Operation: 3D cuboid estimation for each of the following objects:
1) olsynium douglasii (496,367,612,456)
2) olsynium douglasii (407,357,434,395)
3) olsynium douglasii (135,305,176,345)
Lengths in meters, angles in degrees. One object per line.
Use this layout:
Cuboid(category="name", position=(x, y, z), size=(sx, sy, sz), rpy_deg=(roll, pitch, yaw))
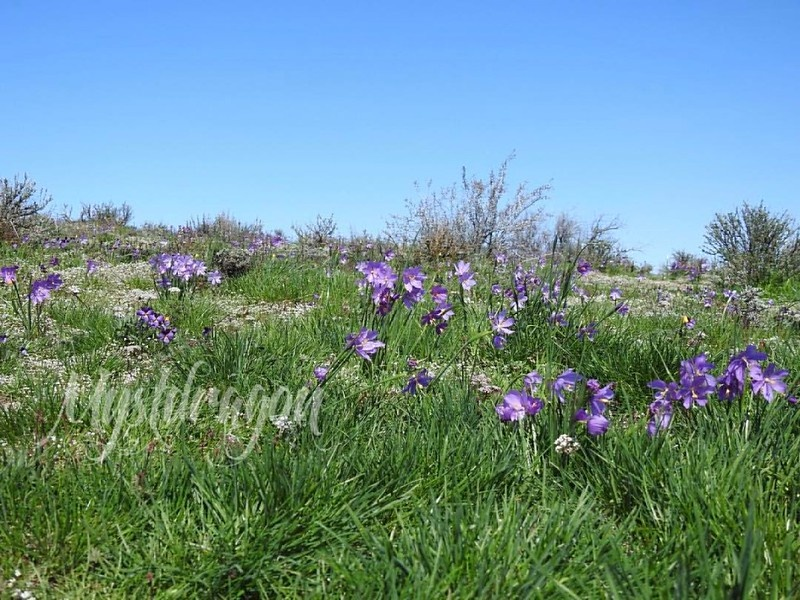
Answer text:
Cuboid(category="olsynium douglasii", position=(0.847, 0.553, 3.376), size=(0.496, 0.387, 0.510), rpy_deg=(21, 32, 36))
Cuboid(category="olsynium douglasii", position=(0.107, 0.471, 3.837), size=(0.187, 0.240, 0.098), rpy_deg=(2, -2, -2))
Cuboid(category="olsynium douglasii", position=(-2.291, 0.237, 6.042), size=(0.238, 0.341, 0.526), rpy_deg=(-14, 17, -42))
